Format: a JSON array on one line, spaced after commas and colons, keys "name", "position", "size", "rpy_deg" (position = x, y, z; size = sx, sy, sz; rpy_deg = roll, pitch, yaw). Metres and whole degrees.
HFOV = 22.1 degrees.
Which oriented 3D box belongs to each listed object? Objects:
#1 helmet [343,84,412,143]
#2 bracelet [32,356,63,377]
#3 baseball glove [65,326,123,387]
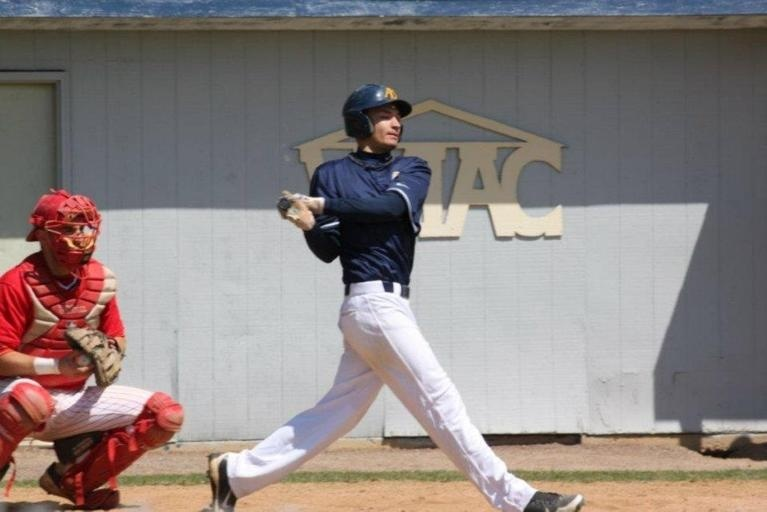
[{"name": "helmet", "position": [-0.070, -1.209, 16.353], "size": [0.584, 0.364, 0.386], "rpy_deg": [-1, 3, 25]}, {"name": "bracelet", "position": [-2.759, 0.896, 16.049], "size": [0.218, 0.122, 0.121], "rpy_deg": [3, 1, -10]}, {"name": "baseball glove", "position": [-2.331, 0.810, 16.126], "size": [0.434, 0.510, 0.229], "rpy_deg": [-36, 13, -20]}]
